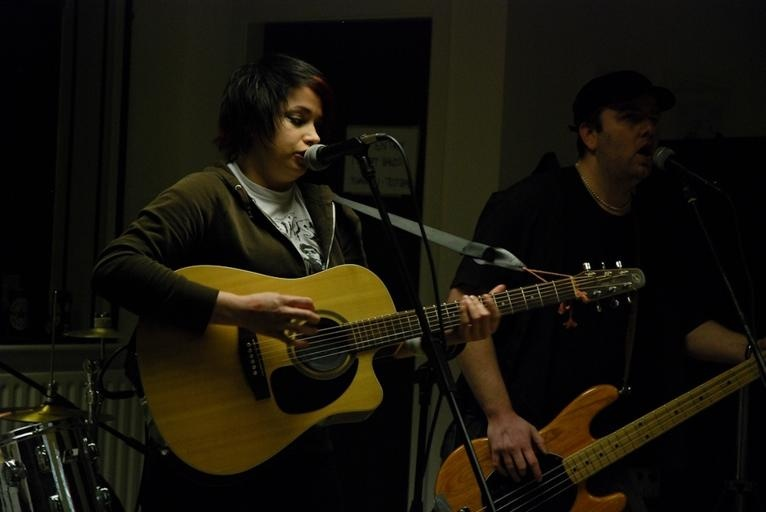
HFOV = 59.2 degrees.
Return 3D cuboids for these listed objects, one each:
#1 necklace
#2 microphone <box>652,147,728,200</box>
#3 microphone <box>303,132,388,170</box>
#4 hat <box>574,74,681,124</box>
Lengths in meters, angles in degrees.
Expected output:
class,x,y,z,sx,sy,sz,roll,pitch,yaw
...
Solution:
class,x,y,z,sx,sy,sz,roll,pitch,yaw
necklace,0.910,-0.269,2.781,0.179,0.203,0.050,-46,-8,38
microphone,1.264,-0.336,2.811,0.345,0.100,0.091,25,-30,-14
microphone,-0.132,-0.357,2.340,0.376,0.099,0.109,1,3,43
hat,1.013,-0.633,2.850,0.319,0.150,0.240,-24,0,14
